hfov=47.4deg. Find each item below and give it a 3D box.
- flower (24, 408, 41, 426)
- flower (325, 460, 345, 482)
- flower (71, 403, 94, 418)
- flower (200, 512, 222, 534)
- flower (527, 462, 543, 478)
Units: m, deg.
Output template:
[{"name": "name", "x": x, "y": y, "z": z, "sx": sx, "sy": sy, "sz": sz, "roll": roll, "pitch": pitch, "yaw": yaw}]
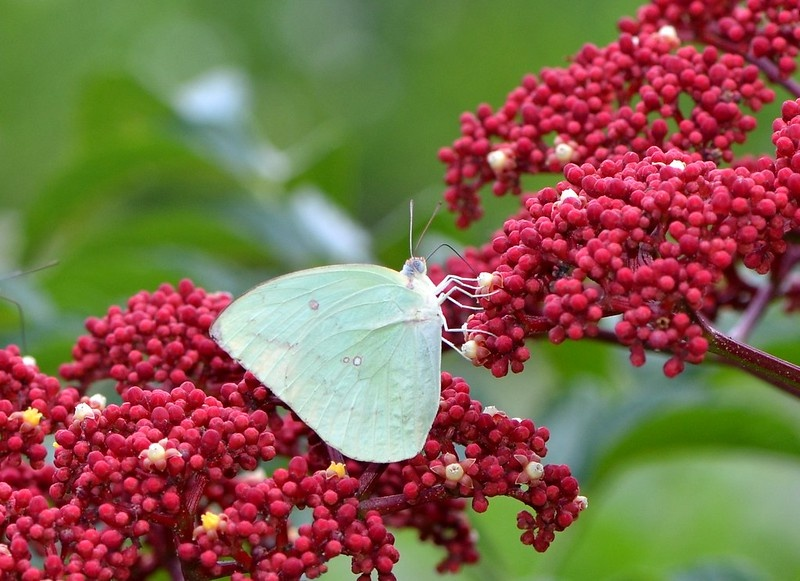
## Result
[{"name": "flower", "x": -0.721, "y": 0.246, "z": 1.785, "sx": 0.030, "sy": 0.026, "sz": 0.032, "roll": -2, "pitch": -11, "yaw": 14}, {"name": "flower", "x": -0.120, "y": 0.339, "z": 1.716, "sx": 0.025, "sy": 0.020, "sz": 0.031, "roll": -6, "pitch": 8, "yaw": -12}, {"name": "flower", "x": -0.607, "y": 0.232, "z": 1.744, "sx": 0.032, "sy": 0.029, "sz": 0.015, "roll": 2, "pitch": 14, "yaw": 41}, {"name": "flower", "x": -0.341, "y": 0.417, "z": 1.656, "sx": 0.031, "sy": 0.038, "sz": 0.016, "roll": -8, "pitch": 6, "yaw": -14}, {"name": "flower", "x": 0.252, "y": 0.335, "z": 1.699, "sx": 0.029, "sy": 0.028, "sz": 0.007, "roll": 7, "pitch": -11, "yaw": -27}]
